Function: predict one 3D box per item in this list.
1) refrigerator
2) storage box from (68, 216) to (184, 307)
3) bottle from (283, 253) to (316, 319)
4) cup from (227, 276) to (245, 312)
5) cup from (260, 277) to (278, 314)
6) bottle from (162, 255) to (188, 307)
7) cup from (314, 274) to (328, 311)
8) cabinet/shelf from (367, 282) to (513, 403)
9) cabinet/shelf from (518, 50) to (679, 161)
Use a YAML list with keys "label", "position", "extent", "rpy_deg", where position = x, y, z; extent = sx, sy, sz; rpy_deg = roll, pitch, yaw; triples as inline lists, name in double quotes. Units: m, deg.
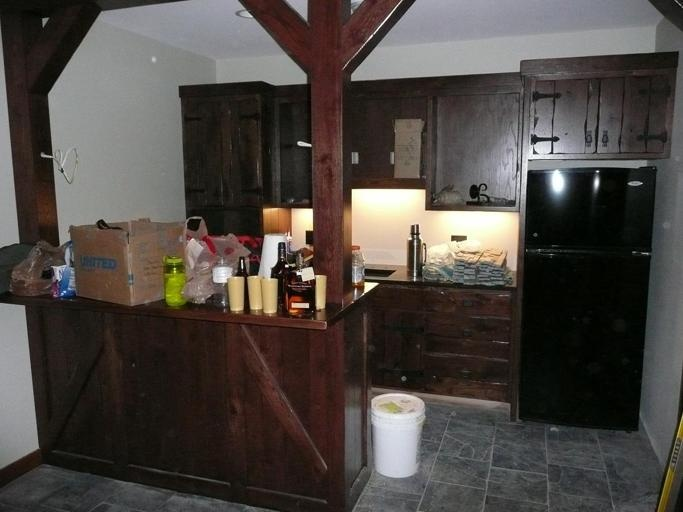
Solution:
- label: "refrigerator"
  position: [1.827, 0.312, 4.287]
  extent: [0.863, 1.928, 0.388]
  rpy_deg: [3, 15, 11]
- label: "storage box"
  position: [-1.360, 0.015, 3.658]
  extent: [0.825, 0.568, 0.485]
  rpy_deg: [7, 10, 34]
- label: "bottle"
  position: [-0.245, 0.199, 3.345]
  extent: [0.179, 0.251, 0.241]
  rpy_deg: [0, 15, -3]
- label: "cup"
  position: [-0.628, 0.227, 3.380]
  extent: [0.106, 0.199, 0.140]
  rpy_deg: [-3, 15, -11]
- label: "cup"
  position: [-0.424, 0.232, 3.331]
  extent: [0.095, 0.196, 0.126]
  rpy_deg: [-2, 15, -8]
- label: "bottle"
  position: [-1.036, 0.152, 3.511]
  extent: [0.138, 0.285, 0.177]
  rpy_deg: [-4, 15, -17]
- label: "cup"
  position: [-0.127, 0.217, 3.351]
  extent: [0.062, 0.194, 0.080]
  rpy_deg: [-1, 15, -6]
- label: "cabinet/shelf"
  position: [0.848, 0.688, 4.645]
  extent: [1.016, 0.770, 0.368]
  rpy_deg: [2, 4, 15]
- label: "cabinet/shelf"
  position: [2.004, -1.100, 4.547]
  extent: [1.333, 0.966, 0.739]
  rpy_deg: [3, 7, 16]
